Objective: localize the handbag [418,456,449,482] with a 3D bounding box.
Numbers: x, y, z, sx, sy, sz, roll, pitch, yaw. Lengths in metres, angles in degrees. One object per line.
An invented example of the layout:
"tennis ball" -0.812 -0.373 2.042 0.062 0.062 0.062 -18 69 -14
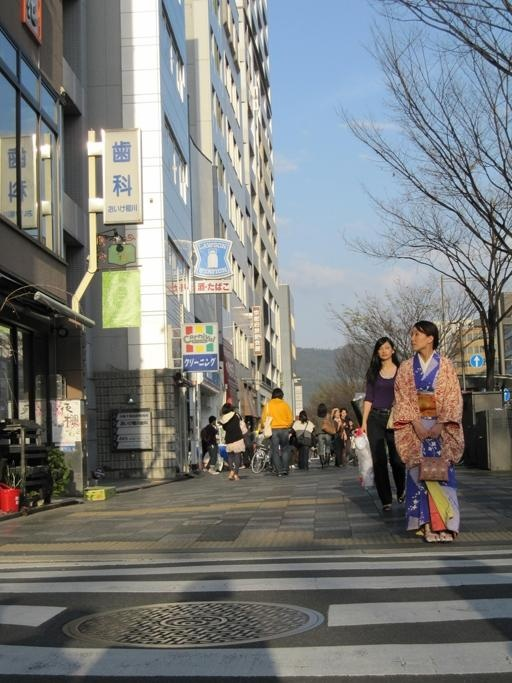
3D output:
"handbag" 1.375 0.995 5.305 0.268 0.225 0.171 0 -13 3

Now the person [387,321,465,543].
"person" 1.380 0.713 5.534 0.580 1.795 0.521 -7 -6 37

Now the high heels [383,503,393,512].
"high heels" 1.383 1.736 7.124 0.085 0.101 0.248 -3 -15 5

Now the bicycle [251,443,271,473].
"bicycle" 0.186 3.337 19.426 0.503 0.581 1.012 -2 -5 17

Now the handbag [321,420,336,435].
"handbag" 2.140 2.470 19.976 0.407 0.141 0.395 14 34 -14

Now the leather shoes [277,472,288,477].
"leather shoes" 0.618 3.026 15.582 0.234 0.109 0.373 -3 -5 0

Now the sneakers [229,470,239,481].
"sneakers" -0.504 3.083 15.682 0.145 0.174 0.433 1 1 5
